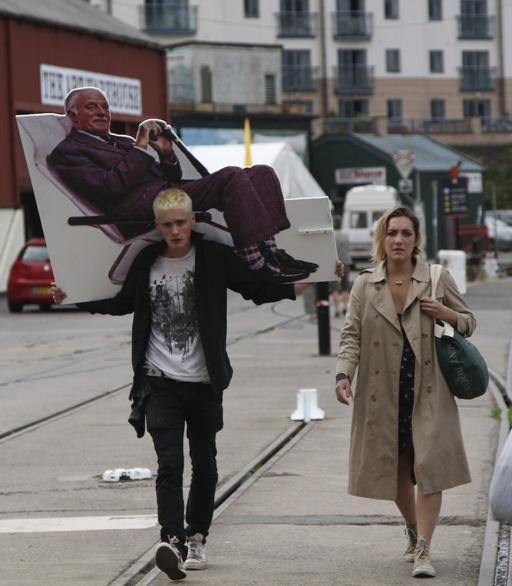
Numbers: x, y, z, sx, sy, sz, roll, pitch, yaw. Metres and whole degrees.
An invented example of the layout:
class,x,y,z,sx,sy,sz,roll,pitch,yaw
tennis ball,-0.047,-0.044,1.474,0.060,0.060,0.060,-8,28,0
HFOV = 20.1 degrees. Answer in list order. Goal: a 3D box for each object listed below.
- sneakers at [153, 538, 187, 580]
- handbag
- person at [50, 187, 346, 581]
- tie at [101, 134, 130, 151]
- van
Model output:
class,x,y,z,sx,sy,sz,roll,pitch,yaw
sneakers,-0.408,1.241,6.936,0.086,0.269,0.117,-13,32,2
handbag,1.034,0.337,7.251,0.263,0.392,0.175,-3,6,-5
person,-0.426,0.430,7.356,0.677,1.905,0.935,2,8,37
tie,-0.720,-0.787,7.531,0.038,0.087,0.193,3,9,38
van,3.295,-1.575,36.162,1.142,2.188,2.131,-1,2,-31
